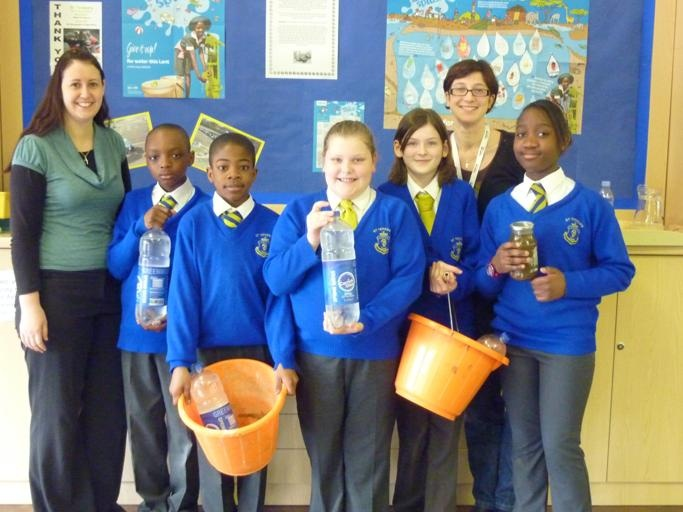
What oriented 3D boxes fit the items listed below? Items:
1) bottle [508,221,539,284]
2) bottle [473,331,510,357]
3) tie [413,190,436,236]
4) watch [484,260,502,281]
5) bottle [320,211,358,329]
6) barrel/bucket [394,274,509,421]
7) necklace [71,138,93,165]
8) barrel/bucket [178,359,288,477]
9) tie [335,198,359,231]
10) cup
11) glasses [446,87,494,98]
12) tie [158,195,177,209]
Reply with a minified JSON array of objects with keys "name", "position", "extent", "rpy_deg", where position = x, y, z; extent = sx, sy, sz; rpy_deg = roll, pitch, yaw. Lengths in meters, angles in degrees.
[{"name":"bottle","position":[0.767,-0.016,2.948],"extent":[0.162,0.244,0.095],"rpy_deg":[-6,11,-38]},{"name":"bottle","position":[0.644,0.369,3.065],"extent":[0.110,0.118,0.109],"rpy_deg":[33,-8,17]},{"name":"tie","position":[0.370,-0.184,3.145],"extent":[0.063,0.195,0.052],"rpy_deg":[-12,1,8]},{"name":"watch","position":[0.647,0.066,3.023],"extent":[0.068,0.058,0.064],"rpy_deg":[7,1,15]},{"name":"bottle","position":[0.000,0.060,2.850],"extent":[0.158,0.457,0.246],"rpy_deg":[0,8,-2]},{"name":"barrel/bucket","position":[0.401,0.372,2.896],"extent":[0.431,0.319,0.437],"rpy_deg":[27,-7,3]},{"name":"necklace","position":[-1.121,-0.429,3.126],"extent":[0.071,0.065,0.064],"rpy_deg":[-7,1,-34]},{"name":"barrel/bucket","position":[-0.401,0.640,3.023],"extent":[0.511,0.357,0.496],"rpy_deg":[-2,26,1]},{"name":"tie","position":[0.034,-0.168,2.979],"extent":[0.081,0.120,0.033],"rpy_deg":[-11,-11,-12]},{"name":"cup","position":[-0.380,0.642,3.022],"extent":[0.511,0.356,0.496],"rpy_deg":[-2,26,1]},{"name":"glasses","position":[0.613,-0.762,3.388],"extent":[0.185,0.049,0.057],"rpy_deg":[0,8,-2]},{"name":"tie","position":[-0.750,-0.231,3.144],"extent":[0.070,0.049,0.026],"rpy_deg":[42,9,5]}]
